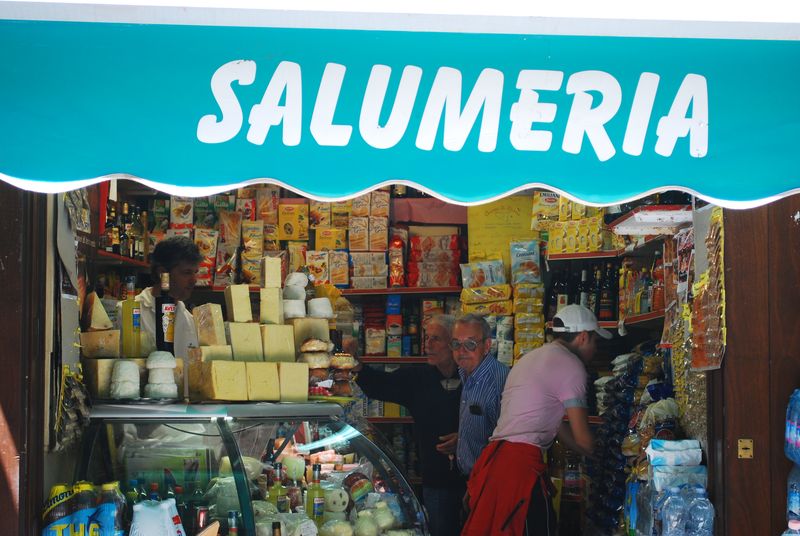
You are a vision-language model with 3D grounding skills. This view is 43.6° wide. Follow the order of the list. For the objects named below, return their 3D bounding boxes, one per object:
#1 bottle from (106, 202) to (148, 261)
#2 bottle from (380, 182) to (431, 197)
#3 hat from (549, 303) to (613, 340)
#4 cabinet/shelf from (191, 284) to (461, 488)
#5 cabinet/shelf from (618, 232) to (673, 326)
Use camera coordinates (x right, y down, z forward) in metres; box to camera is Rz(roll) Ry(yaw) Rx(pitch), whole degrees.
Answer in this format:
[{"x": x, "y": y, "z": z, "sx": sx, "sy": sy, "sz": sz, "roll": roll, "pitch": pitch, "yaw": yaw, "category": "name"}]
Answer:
[{"x": -2.042, "y": -0.252, "z": 7.430, "sx": 0.225, "sy": 0.403, "sz": 0.418, "roll": -2, "pitch": -5, "yaw": 1, "category": "bottle"}, {"x": 0.032, "y": -0.645, "z": 8.450, "sx": 0.453, "sy": 0.108, "sz": 0.175, "roll": 1, "pitch": -7, "yaw": -17, "category": "bottle"}, {"x": 1.160, "y": 0.350, "z": 6.447, "sx": 0.321, "sy": 0.178, "sz": 0.211, "roll": 0, "pitch": 0, "yaw": -11, "category": "hat"}, {"x": -0.408, "y": 0.716, "z": 5.780, "sx": 1.551, "sy": 1.490, "sz": 0.496, "roll": 0, "pitch": -13, "yaw": 0, "category": "cabinet/shelf"}, {"x": 1.606, "y": 0.097, "z": 6.631, "sx": 0.293, "sy": 0.516, "sz": 1.370, "roll": -2, "pitch": -7, "yaw": 10, "category": "cabinet/shelf"}]
